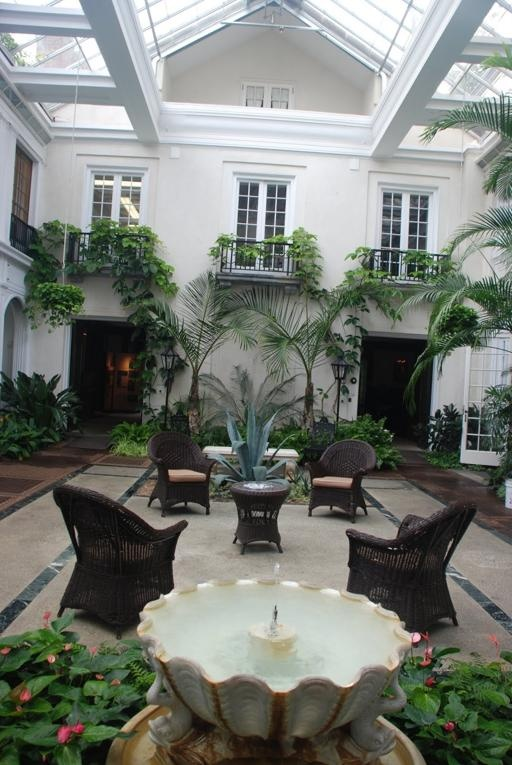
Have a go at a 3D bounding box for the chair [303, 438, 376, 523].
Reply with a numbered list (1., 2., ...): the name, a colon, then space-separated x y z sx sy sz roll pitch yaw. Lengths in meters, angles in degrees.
1. chair: 0.927 1.020 5.492 0.665 0.806 0.706 7 -6 -38

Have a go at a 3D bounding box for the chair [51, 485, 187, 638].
1. chair: -0.719 0.880 2.691 0.544 0.720 0.514 2 1 33

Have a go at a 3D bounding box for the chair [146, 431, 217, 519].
1. chair: -0.792 0.931 5.275 0.680 0.820 0.727 1 -4 14

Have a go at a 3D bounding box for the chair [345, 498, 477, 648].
1. chair: 0.812 0.970 2.791 0.632 0.685 0.621 3 -1 6

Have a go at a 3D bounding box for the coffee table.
1. coffee table: 0.023 1.027 4.025 0.479 0.520 0.472 1 -6 -4
